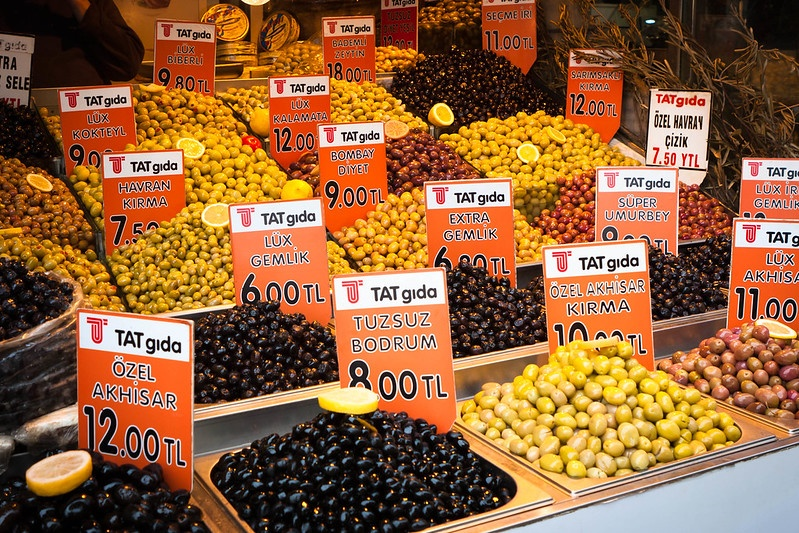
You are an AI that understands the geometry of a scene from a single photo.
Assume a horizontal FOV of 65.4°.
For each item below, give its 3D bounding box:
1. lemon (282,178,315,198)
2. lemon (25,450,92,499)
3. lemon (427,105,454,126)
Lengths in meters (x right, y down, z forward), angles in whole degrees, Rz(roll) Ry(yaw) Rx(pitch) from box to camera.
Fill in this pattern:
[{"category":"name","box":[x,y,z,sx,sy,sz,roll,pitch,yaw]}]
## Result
[{"category":"lemon","box":[-0.785,-0.597,4.789,0.220,0.230,0.226,-3,-8,-7]},{"category":"lemon","box":[-1.282,0.784,2.352,0.214,0.085,0.161,-20,28,-35]},{"category":"lemon","box":[0.380,-1.478,6.028,0.231,0.238,0.139,14,-22,-36]}]
